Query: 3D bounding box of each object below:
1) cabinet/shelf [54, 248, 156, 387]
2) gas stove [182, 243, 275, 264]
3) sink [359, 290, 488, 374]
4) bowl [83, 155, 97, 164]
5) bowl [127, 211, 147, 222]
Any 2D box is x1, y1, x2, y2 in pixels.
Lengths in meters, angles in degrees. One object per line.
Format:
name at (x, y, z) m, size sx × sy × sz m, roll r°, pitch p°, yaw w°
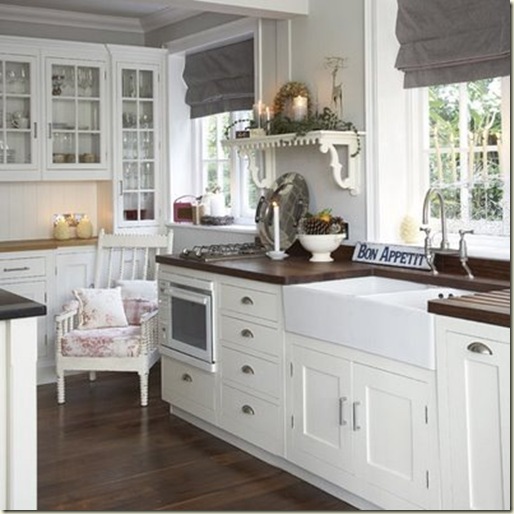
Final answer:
cabinet/shelf at (-1.043, 0.612, 3.534) m, size 0.726 × 0.782 × 0.736 m, roll -2°, pitch 2°, yaw 0°
gas stove at (-0.174, -0.018, 3.028) m, size 0.602 × 0.087 × 0.369 m, roll -3°, pitch 3°, yaw -43°
sink at (0.619, 0.248, 1.687) m, size 0.273 × 0.148 × 0.376 m, roll -3°, pitch 5°, yaw -28°
bowl at (-1.467, -0.847, 4.212) m, size 0.089 × 0.059 × 0.087 m, roll 1°, pitch 6°, yaw 0°
bowl at (-1.112, -0.372, 4.408) m, size 0.140 × 0.052 × 0.088 m, roll -1°, pitch -1°, yaw -2°
